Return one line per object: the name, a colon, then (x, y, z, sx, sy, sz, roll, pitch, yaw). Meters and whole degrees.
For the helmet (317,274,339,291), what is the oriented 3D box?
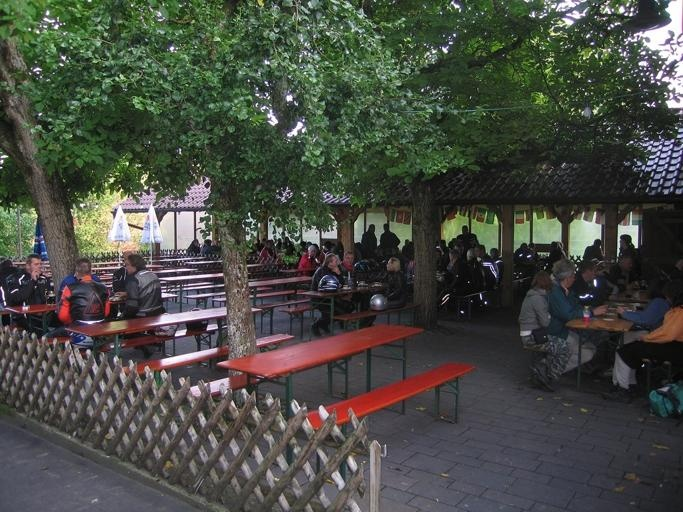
helmet: (-0.256, 0.600, 13.055, 0.313, 0.405, 0.300, -5, -9, -19)

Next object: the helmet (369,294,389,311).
helmet: (0.826, 1.011, 12.825, 0.283, 0.293, 0.355, -3, -1, 5)

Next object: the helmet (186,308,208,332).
helmet: (-2.825, 1.258, 11.408, 0.413, 0.565, 0.474, 1, -4, -9)

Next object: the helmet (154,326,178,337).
helmet: (-3.255, 1.428, 11.008, 0.217, 0.157, 0.395, -2, -12, 44)
